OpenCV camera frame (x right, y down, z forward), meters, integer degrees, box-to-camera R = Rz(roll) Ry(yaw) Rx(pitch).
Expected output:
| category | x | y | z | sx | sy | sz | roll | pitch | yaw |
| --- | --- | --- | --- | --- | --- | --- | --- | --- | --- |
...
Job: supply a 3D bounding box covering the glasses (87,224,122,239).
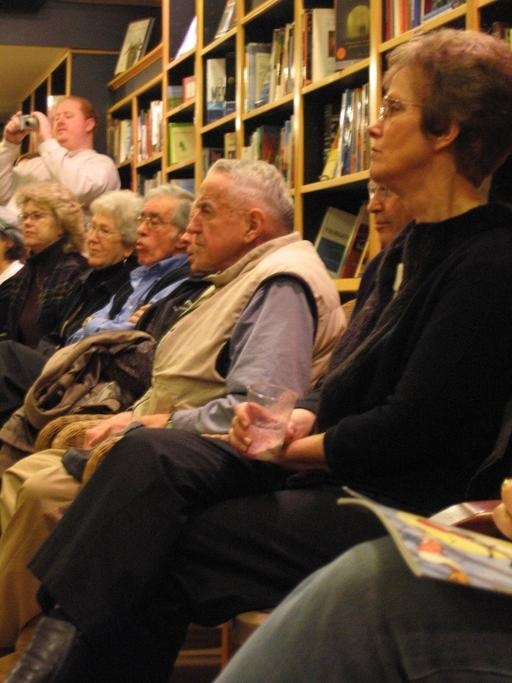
| category | x | y | z | sx | sy | sz | roll | pitch | yaw |
| --- | --- | --- | --- | --- | --- | --- | --- | --- | --- |
| glasses | -0.791 | -0.579 | 3.290 | 0.115 | 0.029 | 0.106 | 1 | -10 | 23 |
